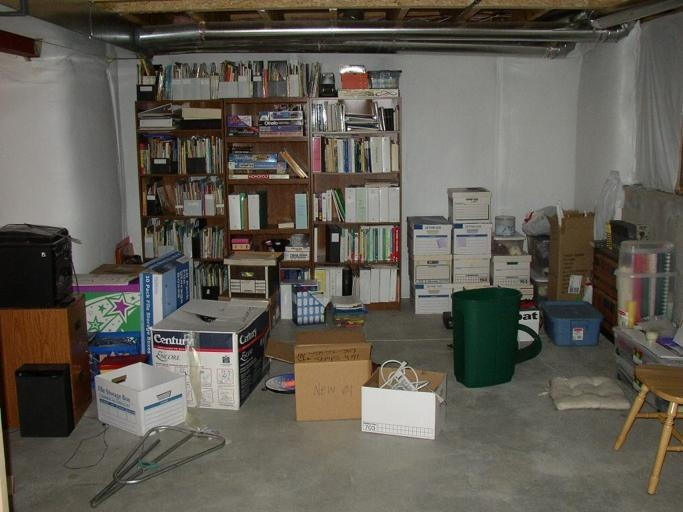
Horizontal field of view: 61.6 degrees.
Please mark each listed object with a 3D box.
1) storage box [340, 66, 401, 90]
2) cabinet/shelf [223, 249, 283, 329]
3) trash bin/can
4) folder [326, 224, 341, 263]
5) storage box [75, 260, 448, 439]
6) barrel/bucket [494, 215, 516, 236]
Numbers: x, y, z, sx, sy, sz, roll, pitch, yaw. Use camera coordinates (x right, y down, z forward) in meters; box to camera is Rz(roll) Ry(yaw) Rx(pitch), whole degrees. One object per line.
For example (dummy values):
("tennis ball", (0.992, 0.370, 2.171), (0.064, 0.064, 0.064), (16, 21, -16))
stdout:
("storage box", (0.348, -2.122, 6.802), (0.697, 0.285, 0.189), (-1, 8, -3))
("cabinet/shelf", (-0.975, 0.350, 6.408), (0.826, 1.045, 0.804), (0, 4, 2))
("trash bin/can", (1.272, 0.731, 5.017), (0.813, 0.892, 0.515), (-3, 16, -6))
("folder", (-0.127, -0.149, 7.264), (0.221, 0.453, 0.508), (2, 1, 0))
("storage box", (-0.484, 0.614, 4.760), (2.609, 0.899, 1.405), (2, 3, 6))
("barrel/bucket", (2.022, -0.382, 7.089), (0.260, 0.230, 0.263), (0, 2, 0))
